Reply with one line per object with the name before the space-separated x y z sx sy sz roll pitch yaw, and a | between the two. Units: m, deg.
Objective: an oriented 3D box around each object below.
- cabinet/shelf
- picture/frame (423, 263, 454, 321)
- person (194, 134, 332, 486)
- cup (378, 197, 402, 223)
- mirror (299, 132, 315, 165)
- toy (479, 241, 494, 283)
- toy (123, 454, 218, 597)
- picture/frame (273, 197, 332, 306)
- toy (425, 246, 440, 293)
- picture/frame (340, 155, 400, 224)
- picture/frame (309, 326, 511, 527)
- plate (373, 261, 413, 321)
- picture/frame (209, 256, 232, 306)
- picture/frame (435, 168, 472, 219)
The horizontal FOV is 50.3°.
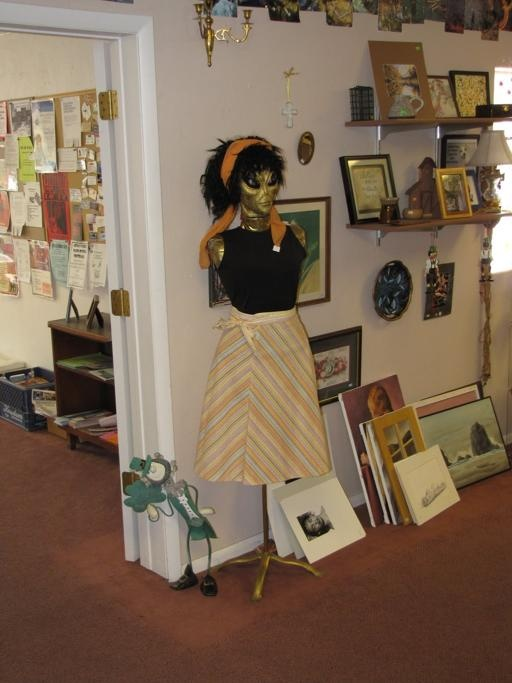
cabinet/shelf | -1.089 0.261 3.459 0.276 0.744 0.800 -6 12 -35
picture/frame | 0.982 -0.274 2.936 0.264 0.284 0.023 -19 28 -39
person | 0.017 -0.103 1.879 0.468 1.201 0.256 0 6 7
cup | 0.605 -0.604 2.489 0.116 0.128 0.117 -1 17 0
mirror | 0.204 -0.782 2.199 0.011 0.139 0.134 13 13 31
toy | 1.334 -0.463 3.149 0.059 0.253 0.087 1 6 20
toy | -0.314 0.658 2.059 0.356 0.563 0.338 -2 6 -14
picture/frame | 0.178 -0.363 2.114 0.018 0.468 0.405 19 27 41
toy | 0.934 -0.385 2.866 0.075 0.230 0.181 1 6 18
picture/frame | 0.504 -0.678 2.453 0.030 0.246 0.288 -2 20 39
picture/frame | 0.739 0.442 2.686 0.678 0.920 0.087 -25 15 -40
plate | 0.679 -0.246 2.707 0.069 0.309 0.287 4 8 42
picture/frame | -0.127 -0.217 1.908 0.020 0.150 0.138 6 13 33
picture/frame | 0.927 -0.689 2.562 0.238 0.240 0.023 -14 10 -33
